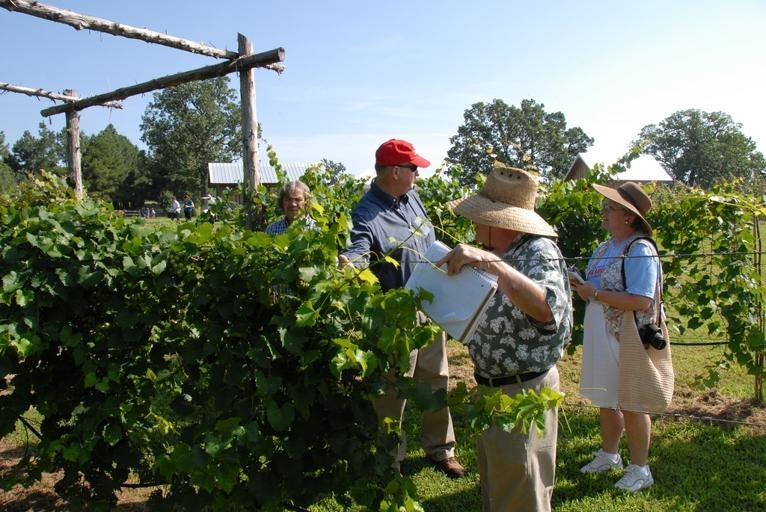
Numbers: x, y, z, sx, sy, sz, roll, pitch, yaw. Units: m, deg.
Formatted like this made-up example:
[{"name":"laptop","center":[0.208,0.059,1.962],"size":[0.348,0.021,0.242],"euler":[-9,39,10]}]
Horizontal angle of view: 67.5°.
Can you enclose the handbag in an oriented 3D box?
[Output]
[{"name":"handbag","center":[2.121,0.881,4.605],"size":[0.434,0.861,0.289],"euler":[0,14,15]}]

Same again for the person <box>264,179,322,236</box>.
[{"name":"person","center":[-0.908,-0.450,5.747],"size":[0.459,0.537,1.110],"euler":[-7,14,-15]}]

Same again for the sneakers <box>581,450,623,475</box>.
[{"name":"sneakers","center":[1.924,1.793,5.053],"size":[0.409,0.180,0.160],"euler":[-3,1,1]}]

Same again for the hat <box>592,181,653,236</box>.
[{"name":"hat","center":[2.085,-0.478,4.848],"size":[0.490,0.170,0.442],"euler":[35,1,10]}]

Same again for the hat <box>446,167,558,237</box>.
[{"name":"hat","center":[0.852,-0.419,3.963],"size":[0.763,0.399,0.813],"euler":[14,9,9]}]

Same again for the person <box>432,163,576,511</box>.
[{"name":"person","center":[0.833,0.634,3.741],"size":[0.733,2.356,0.878],"euler":[1,14,19]}]

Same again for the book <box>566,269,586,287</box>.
[{"name":"book","center":[1.606,0.178,4.784],"size":[0.143,0.041,0.151],"euler":[41,4,4]}]

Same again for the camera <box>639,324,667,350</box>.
[{"name":"camera","center":[2.177,0.638,4.590],"size":[0.102,0.158,0.238],"euler":[-6,16,-18]}]

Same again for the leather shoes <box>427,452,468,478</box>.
[{"name":"leather shoes","center":[0.587,1.910,5.290],"size":[0.127,0.158,0.352],"euler":[-12,9,-44]}]
